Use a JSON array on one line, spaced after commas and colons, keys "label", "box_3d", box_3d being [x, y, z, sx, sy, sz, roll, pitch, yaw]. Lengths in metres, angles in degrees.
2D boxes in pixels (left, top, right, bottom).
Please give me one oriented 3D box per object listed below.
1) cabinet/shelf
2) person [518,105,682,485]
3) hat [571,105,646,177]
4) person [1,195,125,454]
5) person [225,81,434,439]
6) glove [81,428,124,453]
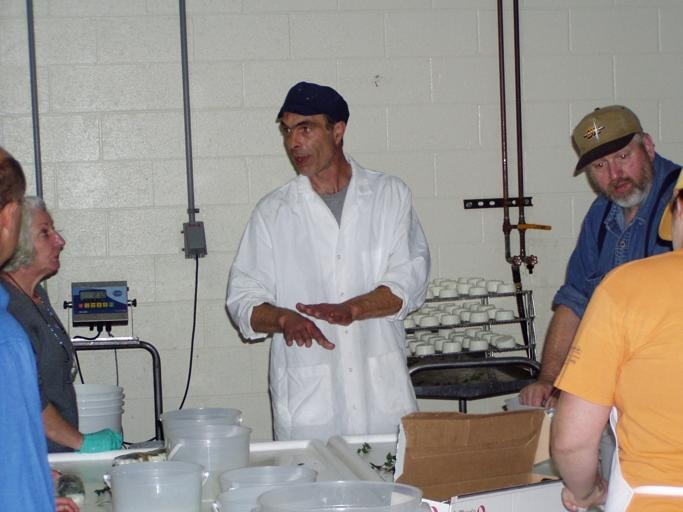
[{"label": "cabinet/shelf", "box_3d": [0.617, 0.439, 4.248, 0.627, 0.592, 0.531, 4, 7, -1]}, {"label": "person", "box_3d": [0.943, 0.133, 3.384, 0.479, 1.513, 0.542, 3, 9, -12]}, {"label": "hat", "box_3d": [1.058, -0.472, 3.506, 0.201, 0.290, 0.196, 0, 10, 0]}, {"label": "person", "box_3d": [-1.067, 0.270, 3.341, 0.393, 1.136, 0.455, 1, 11, -17]}, {"label": "person", "box_3d": [-0.030, -0.004, 3.336, 0.736, 1.215, 0.518, -5, 1, -35]}, {"label": "glove", "box_3d": [-0.818, 0.615, 2.938, 0.161, 0.074, 0.058, -4, 1, 14]}]
